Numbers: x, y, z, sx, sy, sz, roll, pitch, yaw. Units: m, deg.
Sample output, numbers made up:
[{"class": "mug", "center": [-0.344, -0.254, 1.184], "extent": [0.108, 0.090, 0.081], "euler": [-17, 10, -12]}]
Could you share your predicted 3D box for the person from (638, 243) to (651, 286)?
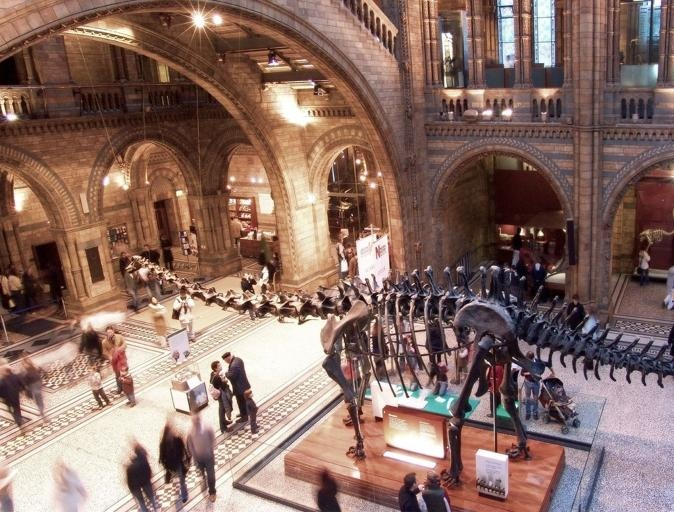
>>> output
[{"class": "person", "center": [8.671, 0.190, 13.224], "extent": [0.298, 1.198, 0.898], "euler": [1, 11, 33]}]

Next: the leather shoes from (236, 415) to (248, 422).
[{"class": "leather shoes", "center": [-1.727, 2.961, 8.497], "extent": [0.214, 0.173, 0.083], "euler": [-2, 10, 15]}]

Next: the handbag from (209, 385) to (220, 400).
[{"class": "handbag", "center": [-2.094, 2.343, 8.023], "extent": [0.121, 0.287, 0.204], "euler": [-12, 12, -38]}]

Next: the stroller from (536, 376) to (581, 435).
[{"class": "stroller", "center": [3.613, 2.395, 7.677], "extent": [0.405, 0.712, 0.591], "euler": [-3, 11, -38]}]

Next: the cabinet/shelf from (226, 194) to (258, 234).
[{"class": "cabinet/shelf", "center": [-4.430, -1.656, 20.582], "extent": [0.542, 1.916, 1.961], "euler": [-11, 17, -41]}]
